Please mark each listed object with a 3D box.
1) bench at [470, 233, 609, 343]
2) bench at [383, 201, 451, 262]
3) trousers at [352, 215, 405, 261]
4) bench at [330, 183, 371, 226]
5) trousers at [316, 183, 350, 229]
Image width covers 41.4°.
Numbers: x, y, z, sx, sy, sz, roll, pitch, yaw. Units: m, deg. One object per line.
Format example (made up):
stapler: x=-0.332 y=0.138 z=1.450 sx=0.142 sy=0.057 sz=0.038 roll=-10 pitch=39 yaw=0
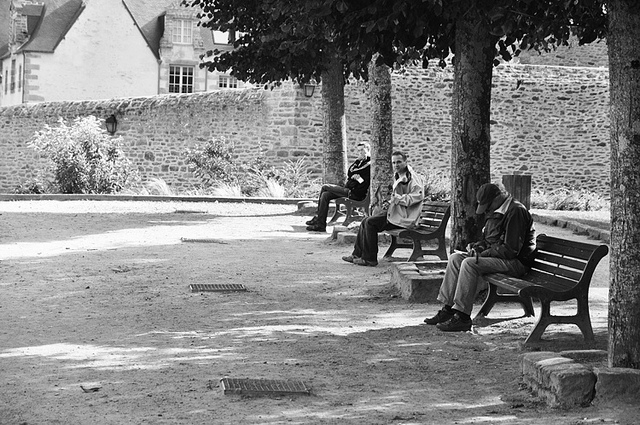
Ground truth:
bench: x=2.578 y=0.885 z=10.179 sx=0.930 sy=1.087 sz=2.000 roll=0 pitch=1 yaw=-5
bench: x=1.563 y=0.264 z=13.735 sx=0.874 sy=1.032 sz=1.626 roll=-2 pitch=3 yaw=-5
trousers: x=0.818 y=0.386 z=13.218 sx=0.587 sy=0.694 sz=0.379 roll=-1 pitch=5 yaw=1
bench: x=0.844 y=-0.193 z=17.746 sx=0.535 sy=0.898 sz=1.334 roll=4 pitch=3 yaw=9
trousers: x=0.228 y=-0.169 z=17.040 sx=0.607 sy=0.792 sz=0.614 roll=2 pitch=9 yaw=-38
